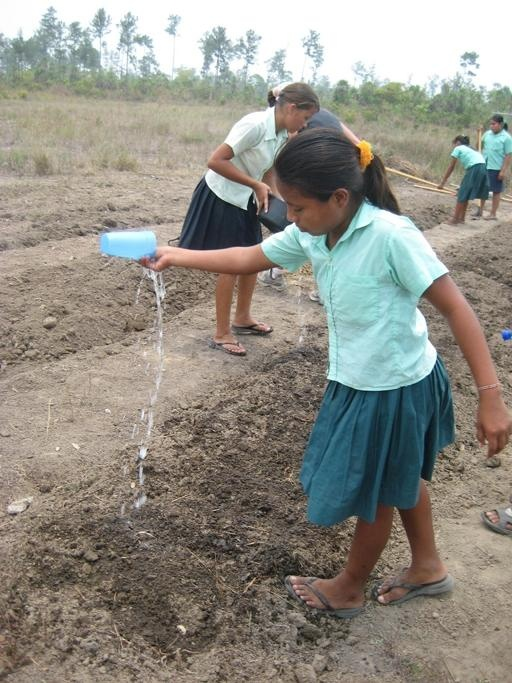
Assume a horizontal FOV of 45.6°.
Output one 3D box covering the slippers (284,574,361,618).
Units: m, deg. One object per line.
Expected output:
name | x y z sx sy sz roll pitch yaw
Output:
slippers | 0.267 0.991 2.349 0.299 0.104 0.083 19 4 19

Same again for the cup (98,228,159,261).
cup | -0.486 -0.333 2.129 0.151 0.124 0.226 3 0 45

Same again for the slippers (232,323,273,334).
slippers | -0.030 -0.085 4.558 0.267 0.066 0.097 -2 19 -5

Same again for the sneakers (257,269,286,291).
sneakers | 0.147 -0.568 5.599 0.202 0.087 0.233 7 21 14

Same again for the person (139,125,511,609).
person | 0.296 0.204 2.041 1.039 1.716 0.444 17 24 37

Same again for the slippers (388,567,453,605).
slippers | 0.643 0.944 2.345 0.283 0.079 0.097 -13 42 21

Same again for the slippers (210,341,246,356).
slippers | -0.193 0.035 4.251 0.193 0.046 0.101 15 28 29
